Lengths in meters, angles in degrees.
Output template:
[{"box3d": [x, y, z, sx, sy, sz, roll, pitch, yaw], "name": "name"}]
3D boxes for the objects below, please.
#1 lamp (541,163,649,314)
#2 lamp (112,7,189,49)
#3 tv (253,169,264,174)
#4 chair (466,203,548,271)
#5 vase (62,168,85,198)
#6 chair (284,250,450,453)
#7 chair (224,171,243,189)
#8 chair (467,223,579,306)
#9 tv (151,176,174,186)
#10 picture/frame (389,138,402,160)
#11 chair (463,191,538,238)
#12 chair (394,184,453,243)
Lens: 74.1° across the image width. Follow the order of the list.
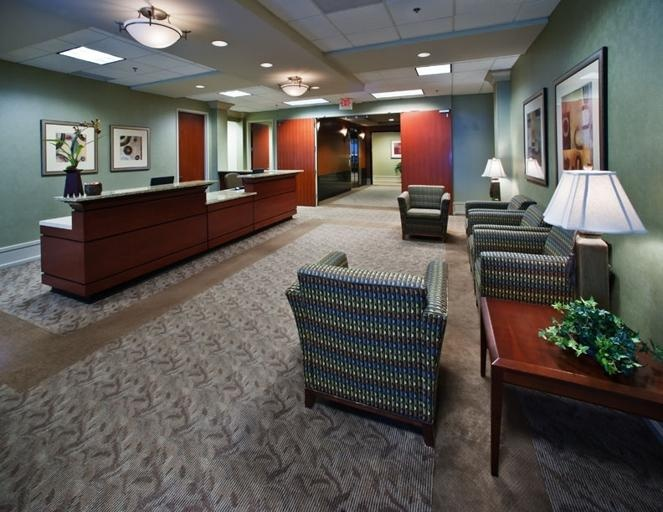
[{"box3d": [1.596, -0.089, 2.763, 0.513, 0.900, 0.465, 3, 13, 18], "name": "lamp"}, {"box3d": [-1.682, -2.133, 4.128, 0.335, 0.233, 0.355, 0, 2, -3], "name": "lamp"}, {"box3d": [-1.220, -1.471, 7.498, 0.190, 0.066, 0.598, -3, 14, -8], "name": "tv"}, {"box3d": [1.956, -0.235, 5.017, 0.705, 0.696, 0.757, 2, 9, 18], "name": "chair"}, {"box3d": [-2.441, -0.711, 4.146, 0.157, 0.270, 0.326, -6, 14, -22], "name": "vase"}, {"box3d": [0.291, 0.438, 2.994, 1.230, 1.317, 0.927, 3, 10, 25], "name": "chair"}, {"box3d": [-1.782, -1.407, 8.091, 0.270, 0.258, 0.635, -4, 14, -10], "name": "chair"}, {"box3d": [1.493, 0.070, 3.493, 0.711, 0.705, 0.778, 1, 6, 17], "name": "chair"}, {"box3d": [-2.055, -0.935, 5.359, 0.234, 0.093, 0.324, -5, 14, -15], "name": "tv"}, {"box3d": [2.347, -3.933, 16.067, 0.371, 0.676, 0.207, 7, 14, 34], "name": "picture/frame"}, {"box3d": [2.081, -0.568, 5.550, 0.636, 0.571, 0.706, 3, 11, 14], "name": "chair"}, {"box3d": [1.417, -0.677, 6.646, 0.695, 0.731, 0.900, 2, 13, 16], "name": "chair"}]
